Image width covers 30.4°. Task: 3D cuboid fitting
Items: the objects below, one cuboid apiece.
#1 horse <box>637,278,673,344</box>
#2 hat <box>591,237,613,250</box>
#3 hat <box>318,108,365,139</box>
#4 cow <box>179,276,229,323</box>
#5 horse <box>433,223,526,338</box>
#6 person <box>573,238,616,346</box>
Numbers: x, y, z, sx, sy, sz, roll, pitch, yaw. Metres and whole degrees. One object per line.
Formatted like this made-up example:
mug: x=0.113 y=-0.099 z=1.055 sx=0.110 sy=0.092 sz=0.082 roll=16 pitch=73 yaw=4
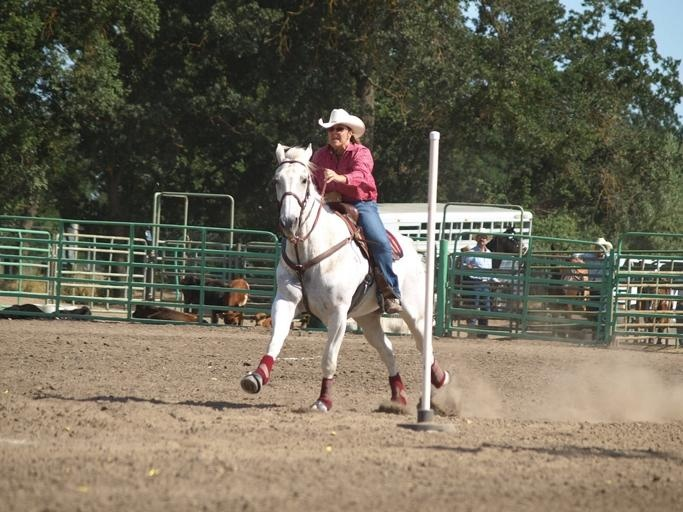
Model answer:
horse: x=8.445 y=1.475 z=33.865 sx=0.851 sy=1.795 sz=2.031 roll=1 pitch=-1 yaw=14
hat: x=8.381 y=-0.374 z=40.674 sx=0.482 sy=0.408 sz=0.815 roll=4 pitch=-7 yaw=22
hat: x=0.040 y=-2.887 z=27.887 sx=0.928 sy=0.605 sz=0.464 roll=2 pitch=-1 yaw=-11
cow: x=-3.749 y=1.174 z=34.411 sx=1.203 sy=0.888 sz=1.340 roll=2 pitch=-1 yaw=-8
horse: x=4.296 y=0.678 z=35.404 sx=3.212 sy=2.864 sz=1.923 roll=8 pitch=-11 yaw=-22
person: x=7.036 y=0.930 z=33.880 sx=1.372 sy=2.333 sz=0.571 roll=6 pitch=5 yaw=35
